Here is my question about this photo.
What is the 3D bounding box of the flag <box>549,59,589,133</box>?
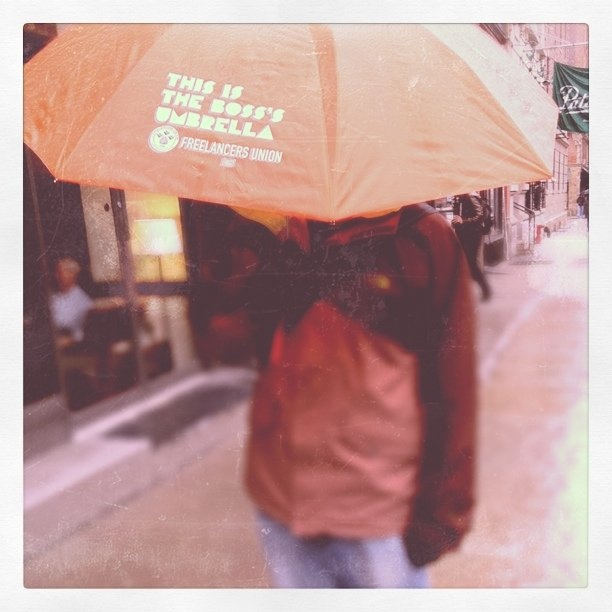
[{"bbox_3d":[1.677,-1.377,3.651,0.425,0.488,0.041,1,2,-6],"label":"flag"}]
